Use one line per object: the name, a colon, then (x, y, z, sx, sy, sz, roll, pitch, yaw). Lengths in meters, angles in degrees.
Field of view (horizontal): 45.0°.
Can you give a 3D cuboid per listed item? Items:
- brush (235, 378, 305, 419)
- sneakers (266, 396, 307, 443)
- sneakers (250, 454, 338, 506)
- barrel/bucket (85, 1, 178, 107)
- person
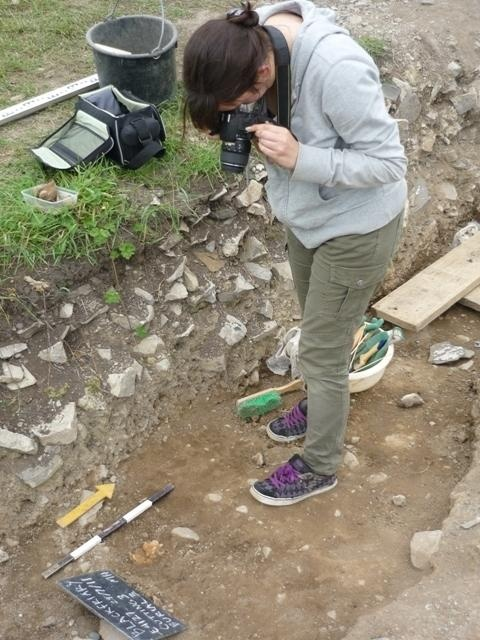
brush: (0.154, 0.420, 3.058, 0.348, 0.111, 0.298, -22, 35, -39)
sneakers: (0.241, 0.506, 2.819, 0.323, 0.129, 0.111, -24, 66, -27)
sneakers: (0.219, 0.699, 2.465, 0.472, 0.195, 0.156, -10, 53, 2)
barrel/bucket: (-0.630, -1.643, 3.738, 0.652, 0.781, 0.565, -18, 43, -22)
person: (0.187, -0.088, 2.196, 0.760, 1.928, 0.543, 31, 46, 29)
